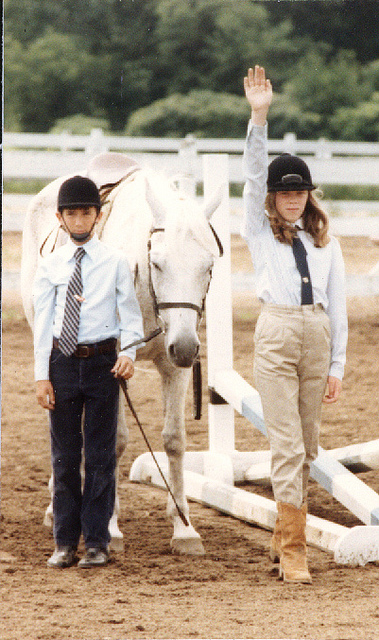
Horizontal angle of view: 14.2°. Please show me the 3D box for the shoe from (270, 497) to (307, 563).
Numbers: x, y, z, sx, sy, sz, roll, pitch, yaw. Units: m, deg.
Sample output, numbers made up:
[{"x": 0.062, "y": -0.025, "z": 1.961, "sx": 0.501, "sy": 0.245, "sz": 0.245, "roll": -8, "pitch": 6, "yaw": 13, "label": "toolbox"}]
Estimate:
[{"x": 0.515, "y": 1.079, "z": 7.841, "sx": 0.213, "sy": 0.266, "sz": 0.439, "roll": -4, "pitch": 24, "yaw": -5, "label": "shoe"}]

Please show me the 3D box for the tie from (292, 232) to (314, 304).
[{"x": 0.586, "y": -0.250, "z": 7.844, "sx": 0.081, "sy": 0.422, "sz": 0.061, "roll": -13, "pitch": 30, "yaw": 2, "label": "tie"}]

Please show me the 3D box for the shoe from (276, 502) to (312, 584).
[{"x": 0.540, "y": 1.127, "z": 7.801, "sx": 0.109, "sy": 0.393, "sz": 0.335, "roll": -2, "pitch": 1, "yaw": -6, "label": "shoe"}]

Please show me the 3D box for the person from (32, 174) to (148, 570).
[{"x": -0.520, "y": 0.271, "z": 7.935, "sx": 0.569, "sy": 1.989, "sz": 0.368, "roll": -1, "pitch": 9, "yaw": -7, "label": "person"}]

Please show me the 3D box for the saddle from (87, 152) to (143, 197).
[{"x": -0.434, "y": -0.856, "z": 8.738, "sx": 0.216, "sy": 0.340, "sz": 0.274, "roll": -16, "pitch": 25, "yaw": -32, "label": "saddle"}]

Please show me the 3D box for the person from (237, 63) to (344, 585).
[{"x": 0.504, "y": 0.018, "z": 7.882, "sx": 0.543, "sy": 2.572, "sz": 0.565, "roll": 4, "pitch": 10, "yaw": 26, "label": "person"}]

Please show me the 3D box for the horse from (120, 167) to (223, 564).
[{"x": -0.306, "y": 0.356, "z": 8.713, "sx": 0.465, "sy": 1.945, "sz": 2.026, "roll": 0, "pitch": -1, "yaw": -16, "label": "horse"}]

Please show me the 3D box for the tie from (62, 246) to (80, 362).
[{"x": -0.596, "y": -0.096, "z": 7.876, "sx": 0.077, "sy": 0.509, "sz": 0.199, "roll": 2, "pitch": 9, "yaw": 11, "label": "tie"}]

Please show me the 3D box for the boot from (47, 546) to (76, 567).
[{"x": -0.662, "y": 1.222, "z": 7.996, "sx": 0.162, "sy": 0.099, "sz": 0.140, "roll": -3, "pitch": 11, "yaw": -17, "label": "boot"}]

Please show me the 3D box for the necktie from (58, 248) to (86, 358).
[{"x": -0.598, "y": -0.098, "z": 7.879, "sx": 0.097, "sy": 0.521, "sz": 0.206, "roll": 2, "pitch": 9, "yaw": 15, "label": "necktie"}]
